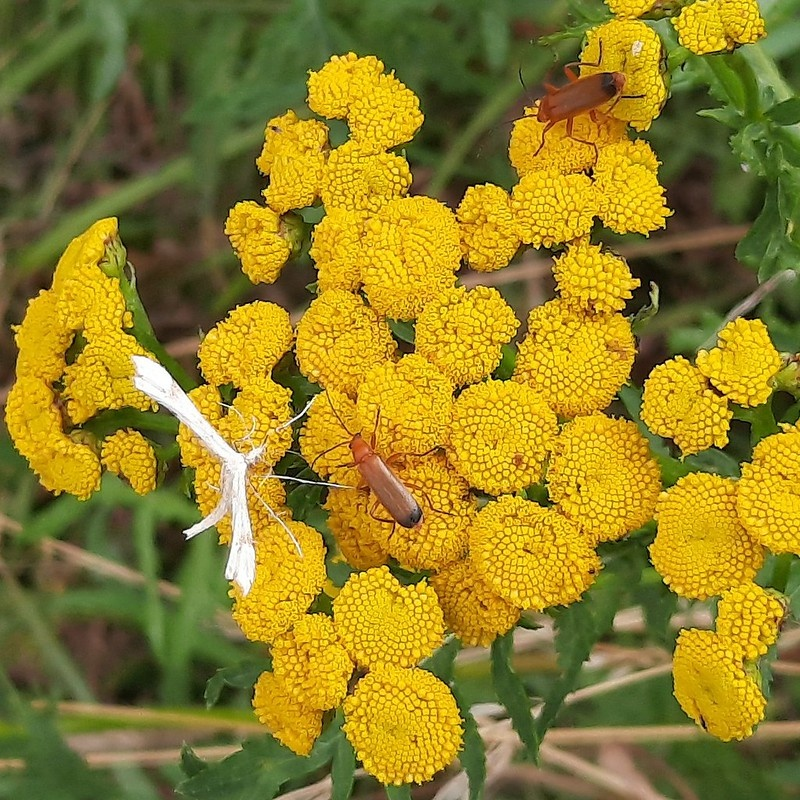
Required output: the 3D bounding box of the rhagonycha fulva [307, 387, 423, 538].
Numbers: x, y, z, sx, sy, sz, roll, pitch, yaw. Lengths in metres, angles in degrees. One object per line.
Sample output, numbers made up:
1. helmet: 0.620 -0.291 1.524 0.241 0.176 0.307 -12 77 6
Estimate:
1. rhagonycha fulva: -0.061 0.190 2.618 0.249 0.094 0.329 -48 64 24
